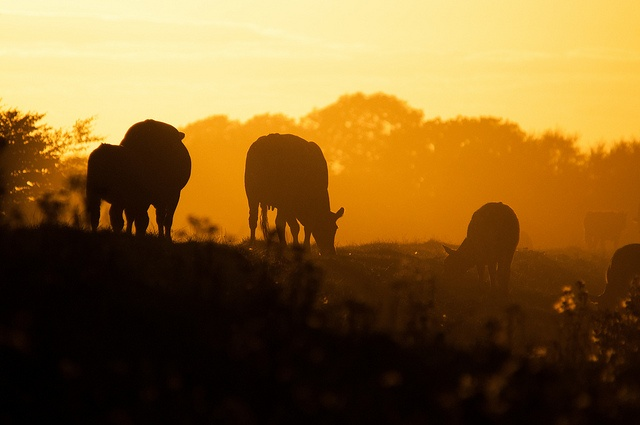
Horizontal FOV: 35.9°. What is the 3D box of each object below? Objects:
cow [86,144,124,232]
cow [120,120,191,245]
[{"bbox_3d":[-5.371,-0.681,24.733,1.017,2.131,0.756,4,2,-3],"label":"cow"},{"bbox_3d":[-4.348,-0.963,26.855,1.772,2.809,3.865,3,-8,-16],"label":"cow"}]
